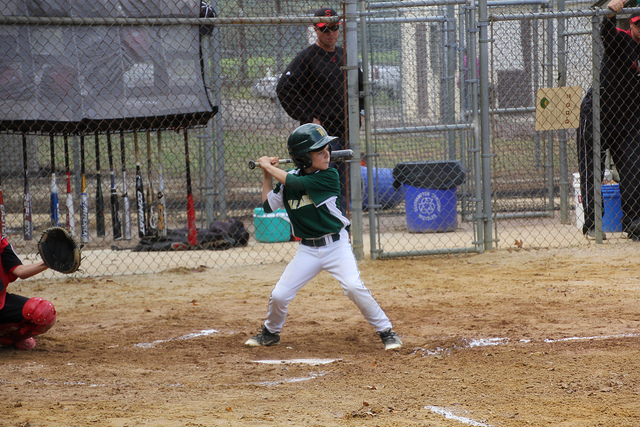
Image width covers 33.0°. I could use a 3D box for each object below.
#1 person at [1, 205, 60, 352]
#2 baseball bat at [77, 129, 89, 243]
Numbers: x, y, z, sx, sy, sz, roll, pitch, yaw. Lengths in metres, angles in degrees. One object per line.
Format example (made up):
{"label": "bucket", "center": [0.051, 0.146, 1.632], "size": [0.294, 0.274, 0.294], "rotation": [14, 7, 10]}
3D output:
{"label": "person", "center": [-2.968, 0.780, 11.220], "size": [0.561, 1.199, 0.556], "rotation": [2, -1, 10]}
{"label": "baseball bat", "center": [-3.201, -0.345, 14.687], "size": [0.156, 1.626, 0.173], "rotation": [1, 21, -3]}
